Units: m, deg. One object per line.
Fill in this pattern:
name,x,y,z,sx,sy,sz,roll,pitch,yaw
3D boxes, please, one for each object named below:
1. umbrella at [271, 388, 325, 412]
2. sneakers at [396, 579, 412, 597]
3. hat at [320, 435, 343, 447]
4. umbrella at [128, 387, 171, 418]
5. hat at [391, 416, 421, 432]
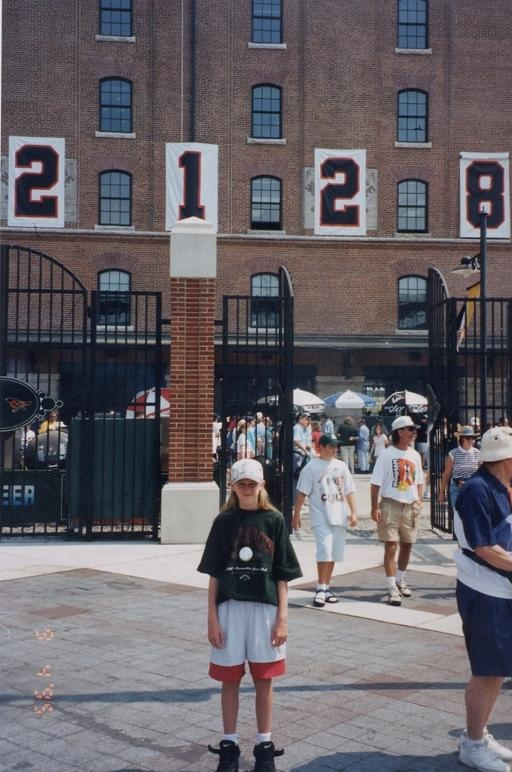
umbrella,0.704,0.236,21.213,0.571,0.280,0.593,2,-9,8
sneakers,1.444,1.999,12.440,0.091,0.109,0.260,-1,-8,-4
hat,0.709,0.528,12.062,0.246,0.119,0.154,3,1,43
umbrella,-1.602,0.260,19.029,0.628,0.305,0.630,-2,-6,-34
hat,1.425,0.361,12.266,0.223,0.126,0.170,-10,-3,7
